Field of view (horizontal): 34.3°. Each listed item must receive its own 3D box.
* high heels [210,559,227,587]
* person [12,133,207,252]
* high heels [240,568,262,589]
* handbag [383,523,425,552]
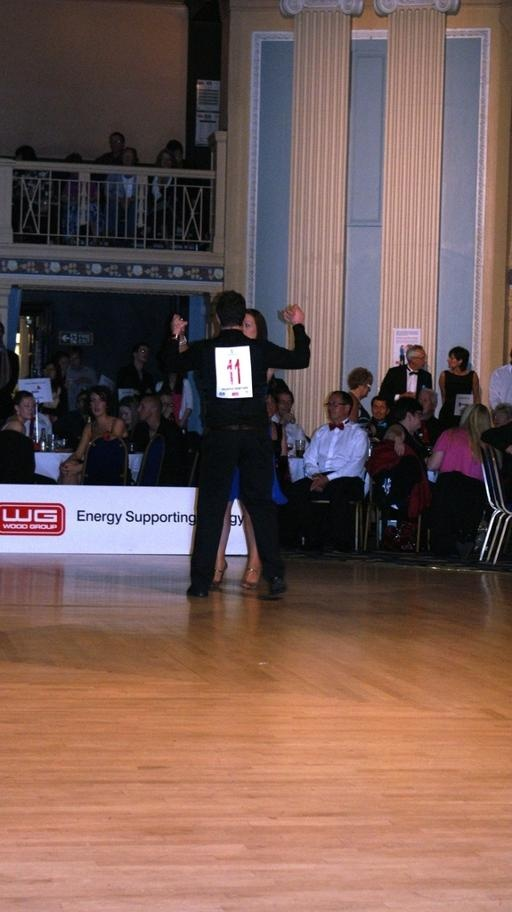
[{"bbox_3d":[-0.235,0.693,4.926,0.056,0.162,0.042,6,-11,6],"label":"high heels"},{"bbox_3d":[-1.896,-3.288,10.772,2.643,1.252,0.630,1,6,-1],"label":"person"},{"bbox_3d":[-0.038,0.724,4.924,0.127,0.155,0.366,0,-5,0],"label":"high heels"},{"bbox_3d":[1.266,0.683,7.149,0.312,0.320,0.230,0,5,1],"label":"handbag"}]
